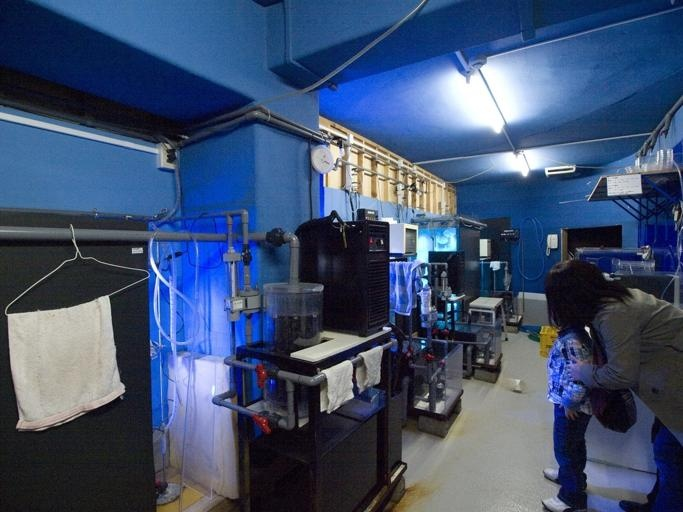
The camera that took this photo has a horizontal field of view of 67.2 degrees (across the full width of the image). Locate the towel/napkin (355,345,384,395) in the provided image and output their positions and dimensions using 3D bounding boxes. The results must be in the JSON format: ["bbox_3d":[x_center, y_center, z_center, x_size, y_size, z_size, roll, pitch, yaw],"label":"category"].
[{"bbox_3d":[0.214,0.850,3.865,0.110,0.320,0.425,5,0,30],"label":"towel/napkin"}]

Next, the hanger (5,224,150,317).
[{"bbox_3d":[-1.729,0.090,3.353,0.099,0.374,0.600,-3,3,44],"label":"hanger"}]

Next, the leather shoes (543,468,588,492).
[{"bbox_3d":[1.855,1.873,4.309,0.143,0.158,0.385,-1,4,-19],"label":"leather shoes"}]

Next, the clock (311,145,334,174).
[{"bbox_3d":[-0.156,-0.865,4.573,0.051,0.233,0.230,6,0,36],"label":"clock"}]

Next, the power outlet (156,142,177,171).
[{"bbox_3d":[-1.486,-0.876,4.487,0.164,0.227,0.070,-2,1,-20],"label":"power outlet"}]

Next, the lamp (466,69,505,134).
[{"bbox_3d":[1.491,-1.565,5.278,0.216,0.142,1.268,-7,-17,24],"label":"lamp"}]

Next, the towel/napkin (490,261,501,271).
[{"bbox_3d":[2.632,0.163,8.811,0.162,0.172,0.072,2,0,6],"label":"towel/napkin"}]
